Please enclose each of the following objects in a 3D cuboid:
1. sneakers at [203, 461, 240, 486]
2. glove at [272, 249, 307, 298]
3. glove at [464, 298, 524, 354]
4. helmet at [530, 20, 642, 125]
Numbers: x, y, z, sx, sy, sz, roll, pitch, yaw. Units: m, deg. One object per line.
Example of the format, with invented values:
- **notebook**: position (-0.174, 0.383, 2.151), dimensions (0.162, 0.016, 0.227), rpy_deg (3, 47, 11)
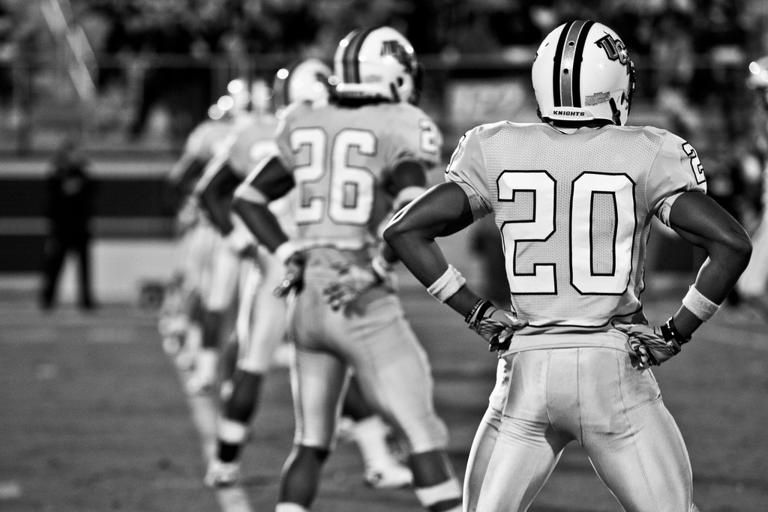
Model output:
- **sneakers**: position (-1.212, 1.590, 9.324), dimensions (0.261, 0.197, 0.184), rpy_deg (0, 7, -4)
- **glove**: position (-0.553, 0.119, 7.727), dimensions (0.169, 0.290, 0.115), rpy_deg (26, -6, 29)
- **glove**: position (0.608, 0.368, 6.596), dimensions (0.251, 0.304, 0.141), rpy_deg (34, 70, 22)
- **helmet**: position (1.111, -0.987, 6.654), dimensions (0.434, 0.477, 0.605), rpy_deg (5, 16, 27)
